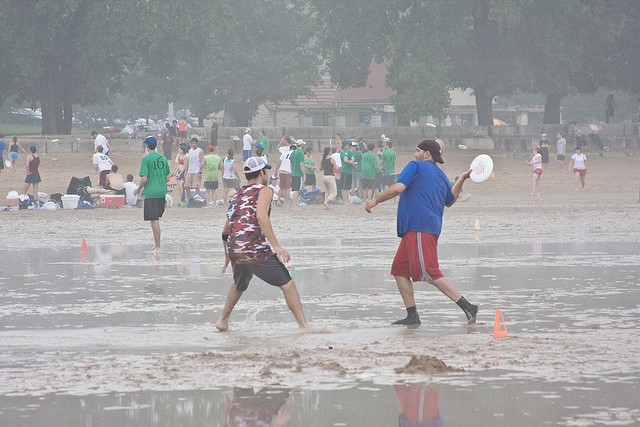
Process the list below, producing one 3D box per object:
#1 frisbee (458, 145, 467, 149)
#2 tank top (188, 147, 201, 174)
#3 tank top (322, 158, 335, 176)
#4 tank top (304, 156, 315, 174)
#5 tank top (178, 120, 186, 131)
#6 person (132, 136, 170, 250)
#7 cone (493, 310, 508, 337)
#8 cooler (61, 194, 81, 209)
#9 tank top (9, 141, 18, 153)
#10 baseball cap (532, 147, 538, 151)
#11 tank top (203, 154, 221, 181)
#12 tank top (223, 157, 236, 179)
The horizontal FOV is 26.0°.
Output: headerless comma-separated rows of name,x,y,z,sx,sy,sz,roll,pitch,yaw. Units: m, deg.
frisbee,8.651,-4.034,83.754,0.569,0.200,0.359,-1,16,-9
tank top,-5.314,-2.213,58.629,0.492,1.176,0.422,-2,15,-10
tank top,0.332,-2.044,59.638,0.757,0.996,0.561,-1,-5,-5
tank top,-0.465,-2.081,60.116,0.411,0.942,0.855,1,15,-1
tank top,-7.942,-5.062,80.153,0.318,0.658,0.703,-3,16,-15
person,-5.921,-0.704,49.552,1.039,4.247,1.155,-1,15,-8
cone,5.544,3.372,42.437,0.439,0.736,0.493,3,15,7
cooler,-10.680,-0.528,59.162,0.732,0.526,0.547,0,-2,3
tank top,-15.414,-3.386,69.925,0.542,0.726,0.406,1,-8,-7
baseball cap,9.670,-2.888,62.153,0.137,0.201,0.425,7,17,22
tank top,-4.549,-1.906,58.542,0.657,1.198,0.510,-2,15,-11
tank top,-3.825,-1.926,58.779,0.352,0.916,0.590,9,17,30
